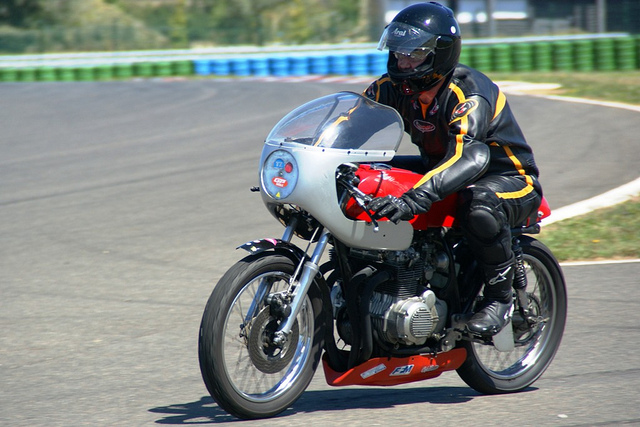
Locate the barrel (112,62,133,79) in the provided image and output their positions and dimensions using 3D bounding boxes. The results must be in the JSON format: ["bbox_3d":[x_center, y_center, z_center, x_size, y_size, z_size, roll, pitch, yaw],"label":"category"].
[{"bbox_3d":[-5.216,-3.800,24.915,0.529,0.279,0.457,5,20,9],"label":"barrel"}]

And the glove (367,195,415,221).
[{"bbox_3d":[0.572,-0.040,7.456,0.302,0.066,0.196,11,27,-24],"label":"glove"}]

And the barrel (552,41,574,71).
[{"bbox_3d":[6.967,-4.506,26.783,0.604,0.822,0.242,0,19,11],"label":"barrel"}]

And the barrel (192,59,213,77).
[{"bbox_3d":[-3.354,-4.217,27.047,0.479,0.434,1.140,-2,14,1],"label":"barrel"}]

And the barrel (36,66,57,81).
[{"bbox_3d":[-6.085,-3.128,20.962,0.378,0.334,1.540,-6,15,-11],"label":"barrel"}]

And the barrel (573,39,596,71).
[{"bbox_3d":[7.551,-4.509,26.683,0.663,0.836,0.372,3,19,19],"label":"barrel"}]

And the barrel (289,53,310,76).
[{"bbox_3d":[-0.461,-4.631,28.832,0.936,0.515,0.816,-1,3,-18],"label":"barrel"}]

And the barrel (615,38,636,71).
[{"bbox_3d":[8.560,-4.478,26.248,0.562,0.847,0.327,1,18,12],"label":"barrel"}]

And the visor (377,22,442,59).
[{"bbox_3d":[0.747,-1.480,7.959,0.449,0.184,0.361,12,3,-44],"label":"visor"}]

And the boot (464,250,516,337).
[{"bbox_3d":[1.436,0.710,7.997,0.366,0.645,0.808,4,12,28],"label":"boot"}]

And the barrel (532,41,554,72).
[{"bbox_3d":[6.478,-4.555,27.127,1.004,0.836,0.873,-3,14,11],"label":"barrel"}]

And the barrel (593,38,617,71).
[{"bbox_3d":[8.037,-4.481,26.413,0.713,0.869,0.350,7,21,29],"label":"barrel"}]
